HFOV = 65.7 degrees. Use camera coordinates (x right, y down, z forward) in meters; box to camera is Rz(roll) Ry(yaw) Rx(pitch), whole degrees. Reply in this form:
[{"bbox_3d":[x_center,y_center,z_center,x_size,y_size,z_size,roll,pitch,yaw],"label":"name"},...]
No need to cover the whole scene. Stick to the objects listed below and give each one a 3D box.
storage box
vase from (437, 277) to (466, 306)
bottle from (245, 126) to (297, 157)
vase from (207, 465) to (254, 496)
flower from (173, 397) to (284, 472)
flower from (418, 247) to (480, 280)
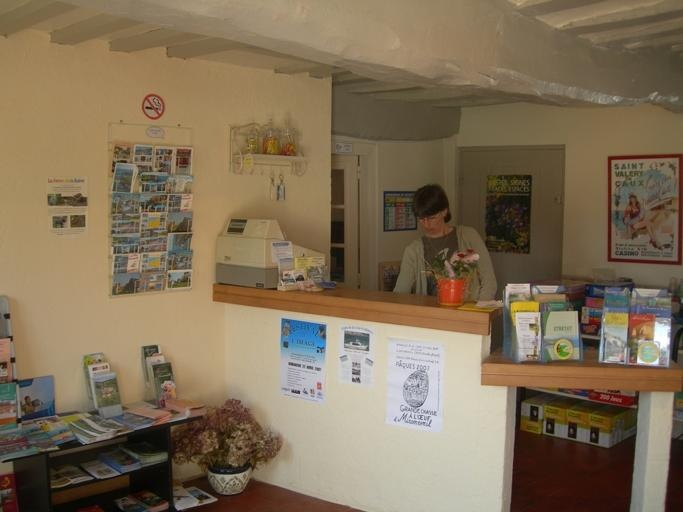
[{"bbox_3d":[2.305,1.595,5.198,1.013,0.316,0.523,1,6,30],"label":"storage box"},{"bbox_3d":[0.711,0.235,3.470,0.179,0.180,0.169,1,4,6],"label":"vase"},{"bbox_3d":[-0.558,-0.971,4.447,0.523,0.263,0.147,-6,6,-41],"label":"bottle"},{"bbox_3d":[-0.828,1.645,3.981,0.242,0.159,0.244,-3,5,-25],"label":"vase"},{"bbox_3d":[-0.929,1.302,4.181,0.742,0.523,0.636,-11,17,-41],"label":"flower"},{"bbox_3d":[0.753,0.048,3.512,0.294,0.192,0.216,0,5,20],"label":"flower"}]
